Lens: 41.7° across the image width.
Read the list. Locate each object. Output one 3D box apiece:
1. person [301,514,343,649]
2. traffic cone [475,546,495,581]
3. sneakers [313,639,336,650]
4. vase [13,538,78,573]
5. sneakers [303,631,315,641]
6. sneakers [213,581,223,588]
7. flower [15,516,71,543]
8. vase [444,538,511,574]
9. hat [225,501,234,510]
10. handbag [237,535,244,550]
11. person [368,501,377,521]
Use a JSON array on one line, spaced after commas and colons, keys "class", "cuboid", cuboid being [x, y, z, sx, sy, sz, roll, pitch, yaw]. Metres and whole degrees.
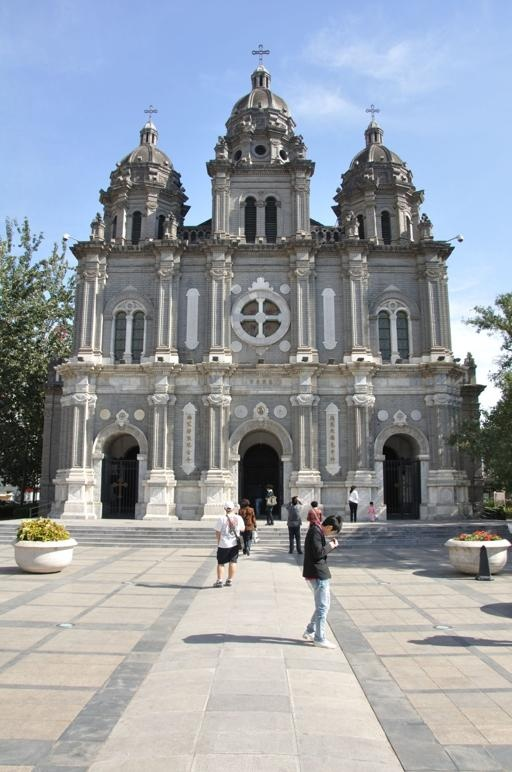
[{"class": "person", "cuboid": [0.833, 2.508, 8.687, 0.487, 1.572, 0.637, -1, -8, 6]}, {"class": "traffic cone", "cuboid": [4.897, 3.853, 14.516, 0.292, 0.689, 0.456, -2, -8, 18]}, {"class": "sneakers", "cuboid": [0.834, 3.229, 8.357, 0.289, 0.112, 0.103, 0, -8, 2]}, {"class": "vase", "cuboid": [-4.501, 3.655, 14.514, 0.946, 0.427, 0.944, -6, -9, 37]}, {"class": "sneakers", "cuboid": [0.656, 3.207, 8.547, 0.140, 0.083, 0.233, 0, -8, 0]}, {"class": "sneakers", "cuboid": [-0.729, 3.758, 12.711, 0.160, 0.126, 0.227, 1, -8, -5]}, {"class": "flower", "cuboid": [-4.765, 3.198, 14.633, 0.711, 0.330, 0.674, -5, -11, 35]}, {"class": "vase", "cuboid": [4.836, 3.851, 15.016, 1.029, 0.551, 1.018, 9, -30, -14]}, {"class": "hat", "cuboid": [-0.536, 2.408, 13.147, 0.197, 0.152, 0.292, 0, 7, -3]}, {"class": "handbag", "cuboid": [-0.322, 3.048, 12.894, 0.051, 0.194, 0.210, 0, -5, 16]}, {"class": "person", "cuboid": [4.765, 5.229, 27.751, 0.311, 0.789, 1.151, -1, -8, 10]}]
